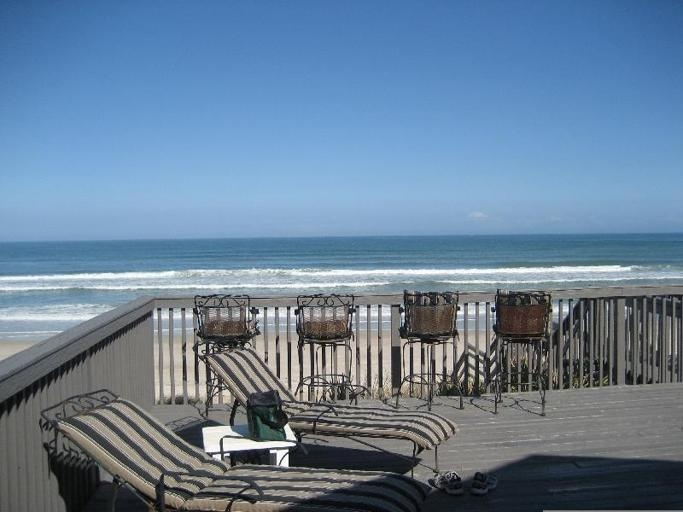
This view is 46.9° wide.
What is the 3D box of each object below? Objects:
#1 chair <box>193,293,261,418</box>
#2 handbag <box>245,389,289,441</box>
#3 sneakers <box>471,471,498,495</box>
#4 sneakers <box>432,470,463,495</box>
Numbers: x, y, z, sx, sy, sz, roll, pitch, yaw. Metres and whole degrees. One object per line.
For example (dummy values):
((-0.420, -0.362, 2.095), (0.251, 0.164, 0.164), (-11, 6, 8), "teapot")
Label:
((-1.753, 1.212, 11.743), (0.975, 1.515, 1.032), (1, 15, -15), "chair")
((-1.058, 2.004, 9.823), (0.514, 0.603, 0.603), (2, -12, -19), "handbag")
((1.787, 2.847, 9.886), (0.329, 0.230, 0.239), (0, 1, 9), "sneakers")
((1.341, 2.830, 9.886), (0.221, 0.130, 0.348), (2, 0, -19), "sneakers")
